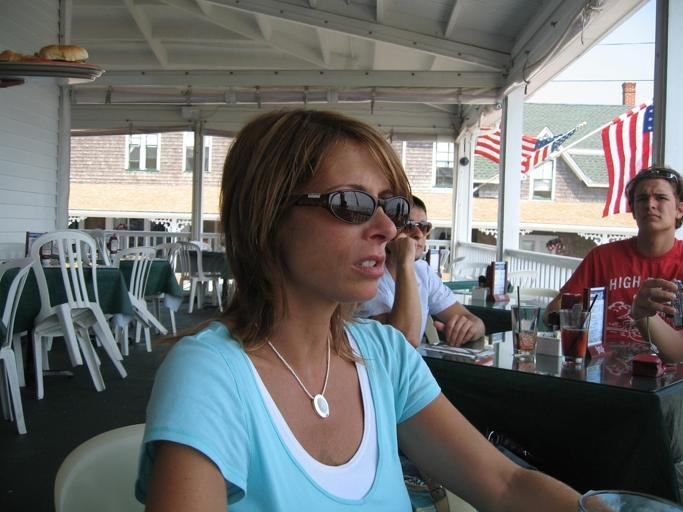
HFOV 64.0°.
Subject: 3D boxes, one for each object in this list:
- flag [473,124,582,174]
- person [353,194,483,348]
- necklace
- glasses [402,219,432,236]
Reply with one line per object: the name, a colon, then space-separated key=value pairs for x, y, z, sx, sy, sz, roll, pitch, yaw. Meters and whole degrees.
flag: x=3.219 y=-2.054 z=9.716 sx=1.570 sy=1.752 sz=0.078 roll=13 pitch=-33 yaw=25
person: x=0.330 y=0.106 z=2.571 sx=0.587 sy=0.737 sz=0.506 roll=-2 pitch=-4 yaw=-2
necklace: x=-0.084 y=0.276 z=1.245 sx=0.157 sy=0.168 sz=0.103 roll=0 pitch=2 yaw=-20
glasses: x=0.377 y=-0.146 z=2.862 sx=0.105 sy=0.030 sz=0.107 roll=-10 pitch=-11 yaw=44
